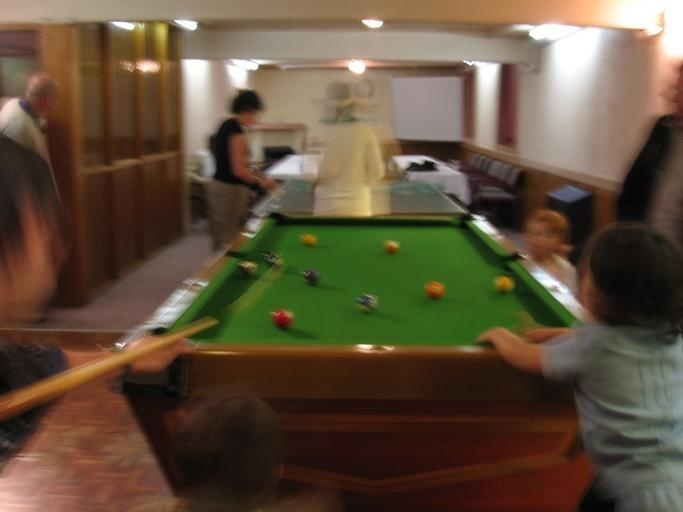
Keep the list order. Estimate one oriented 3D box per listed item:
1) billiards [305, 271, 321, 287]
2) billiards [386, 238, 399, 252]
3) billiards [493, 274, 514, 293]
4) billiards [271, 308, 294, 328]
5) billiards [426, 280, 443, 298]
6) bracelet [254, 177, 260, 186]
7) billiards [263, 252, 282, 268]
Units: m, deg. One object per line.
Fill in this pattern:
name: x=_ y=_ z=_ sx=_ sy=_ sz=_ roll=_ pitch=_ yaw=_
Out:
billiards: x=-0.093 y=0.078 z=1.813 sx=0.048 sy=0.041 sz=0.043 roll=-4 pitch=-21 yaw=22
billiards: x=0.205 y=-0.045 z=2.148 sx=0.049 sy=0.033 sz=0.047 roll=0 pitch=-1 yaw=-26
billiards: x=0.536 y=0.095 z=1.774 sx=0.056 sy=0.029 sz=0.052 roll=-7 pitch=50 yaw=6
billiards: x=-0.164 y=0.175 z=1.505 sx=0.044 sy=0.036 sz=0.056 roll=-2 pitch=28 yaw=-10
billiards: x=0.300 y=0.104 z=1.709 sx=0.051 sy=0.035 sz=0.052 roll=3 pitch=11 yaw=5
bracelet: x=-0.438 y=-0.391 z=2.800 sx=0.032 sy=0.053 sz=0.031 roll=-13 pitch=22 yaw=-34
billiards: x=-0.258 y=0.006 z=1.968 sx=0.041 sy=0.029 sz=0.070 roll=-36 pitch=45 yaw=-20
